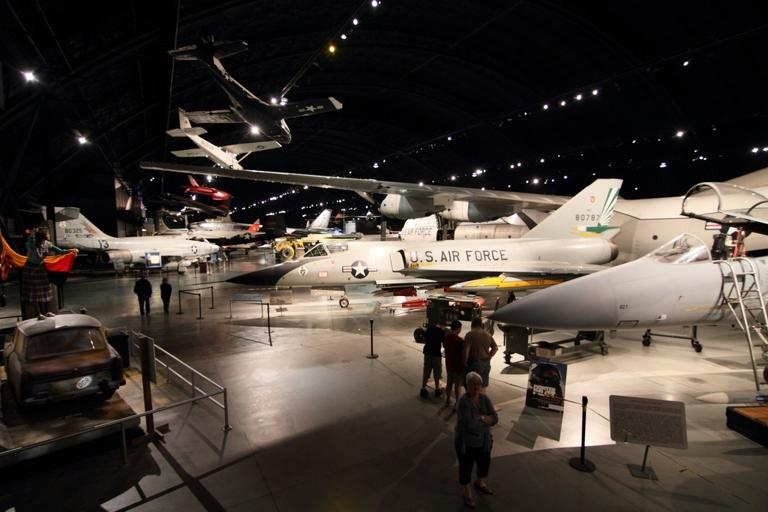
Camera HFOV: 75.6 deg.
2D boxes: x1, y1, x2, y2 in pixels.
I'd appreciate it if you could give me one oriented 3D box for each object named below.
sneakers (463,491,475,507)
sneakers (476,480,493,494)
[{"bbox_3d":[1.939,5.580,11.365,0.263,0.100,0.348,-1,0,-6],"label":"sneakers"},{"bbox_3d":[2.302,5.387,11.609,0.509,0.145,0.215,12,11,40],"label":"sneakers"}]
